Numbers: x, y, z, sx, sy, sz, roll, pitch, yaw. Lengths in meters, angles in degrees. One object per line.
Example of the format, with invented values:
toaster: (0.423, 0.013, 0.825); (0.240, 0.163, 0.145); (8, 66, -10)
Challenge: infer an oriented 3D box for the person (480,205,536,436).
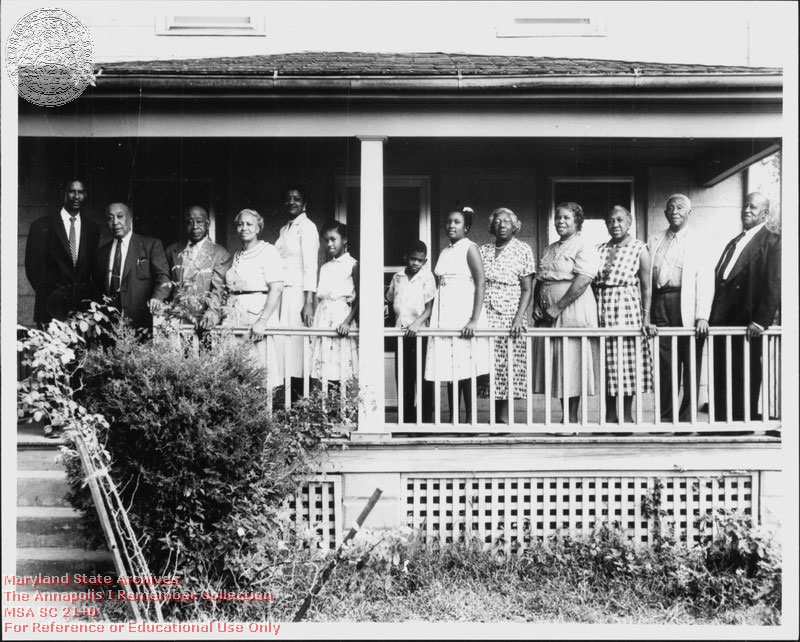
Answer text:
person: (1.068, -0.075, 13.004); (0.538, 2.159, 0.594); (1, -1, 4)

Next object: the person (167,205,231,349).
person: (-1.962, -0.481, 12.829); (0.637, 0.917, 0.571); (1, -1, -18)

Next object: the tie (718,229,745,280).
tie: (3.288, -0.659, 12.970); (0.139, 0.644, 0.153); (23, -10, 10)

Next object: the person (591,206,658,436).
person: (2.219, -0.074, 12.911); (0.558, 2.152, 0.454); (1, -1, 35)

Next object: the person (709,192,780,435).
person: (3.406, -0.152, 12.857); (0.663, 2.250, 0.291); (1, -1, 17)

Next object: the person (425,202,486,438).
person: (0.569, -0.060, 12.919); (0.604, 2.138, 0.509); (1, -1, -13)

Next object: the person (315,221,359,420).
person: (-0.628, -0.098, 12.742); (0.444, 1.791, 0.673); (1, -1, -4)

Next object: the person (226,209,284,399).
person: (-1.426, -0.244, 12.830); (0.591, 1.792, 0.719); (1, -1, -9)
